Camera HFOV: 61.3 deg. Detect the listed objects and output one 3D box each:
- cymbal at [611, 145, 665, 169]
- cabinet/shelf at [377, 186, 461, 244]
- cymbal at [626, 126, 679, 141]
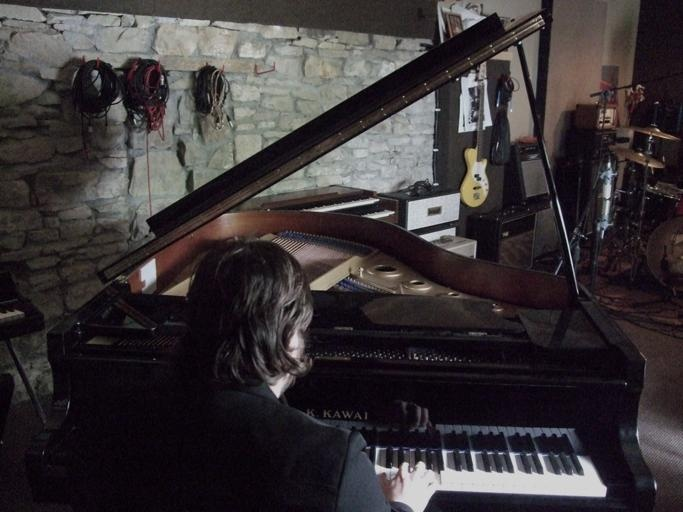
[{"bbox_3d":[3.277,-1.087,6.352,0.417,0.100,0.418,36,21,27],"label":"cymbal"},{"bbox_3d":[0.762,-0.342,5.657,0.800,0.593,0.432,-12,20,-36],"label":"cabinet/shelf"},{"bbox_3d":[3.711,-1.461,6.850,0.433,0.106,0.437,-5,25,-41],"label":"cymbal"}]
